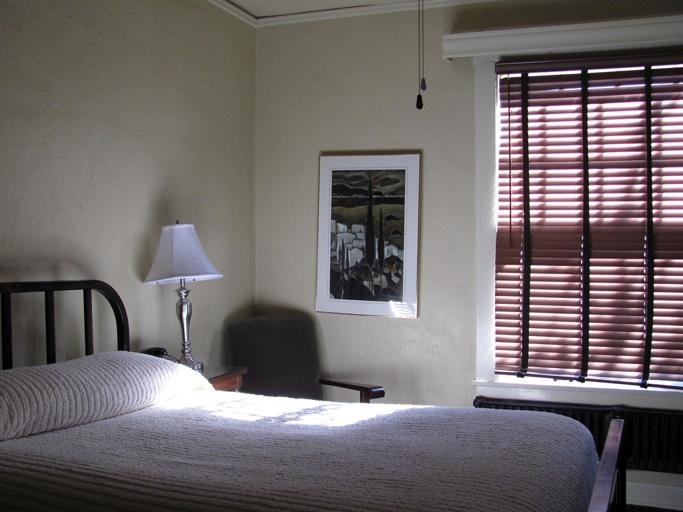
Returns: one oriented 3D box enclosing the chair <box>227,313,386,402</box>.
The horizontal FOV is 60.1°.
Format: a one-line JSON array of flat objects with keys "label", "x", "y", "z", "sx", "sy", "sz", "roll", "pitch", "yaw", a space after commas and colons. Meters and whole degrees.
[{"label": "chair", "x": -0.292, "y": 0.614, "z": 3.824, "sx": 0.562, "sy": 0.892, "sz": 0.771, "roll": -1, "pitch": -4, "yaw": -30}]
